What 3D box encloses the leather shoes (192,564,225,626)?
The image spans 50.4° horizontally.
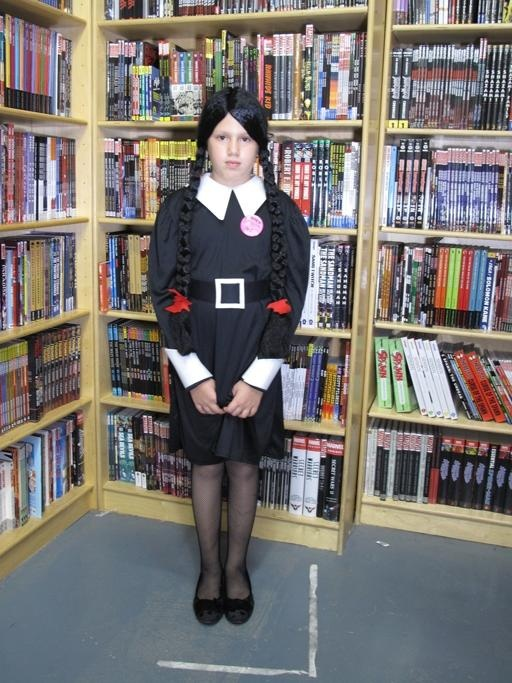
[{"bbox_3d":[-0.142,0.786,1.697,0.099,0.039,0.292,8,4,-4],"label":"leather shoes"}]

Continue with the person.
[{"bbox_3d":[-0.075,0.090,1.539,0.439,1.477,0.393,1,9,2],"label":"person"}]

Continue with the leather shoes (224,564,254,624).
[{"bbox_3d":[-0.056,0.777,1.699,0.096,0.048,0.294,4,9,-3],"label":"leather shoes"}]
